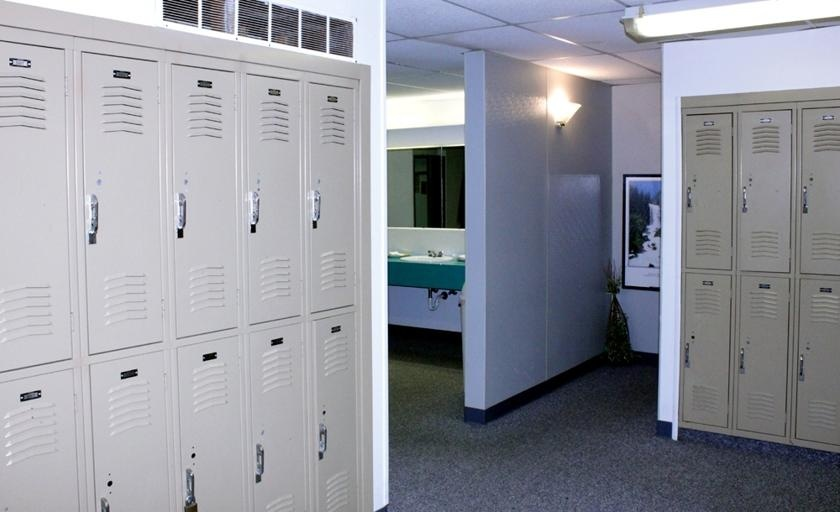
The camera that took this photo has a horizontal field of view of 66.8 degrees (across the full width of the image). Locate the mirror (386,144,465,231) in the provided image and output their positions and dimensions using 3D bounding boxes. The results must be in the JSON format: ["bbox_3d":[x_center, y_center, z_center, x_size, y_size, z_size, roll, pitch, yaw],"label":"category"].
[{"bbox_3d":[0.128,-1.058,9.565,1.603,1.503,0.157,0,3,19],"label":"mirror"}]
